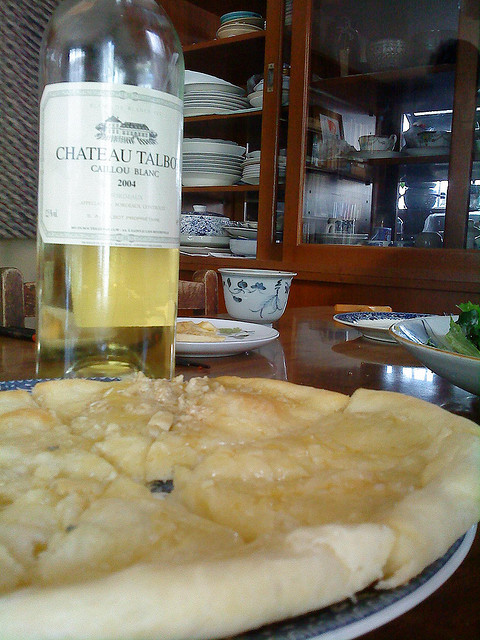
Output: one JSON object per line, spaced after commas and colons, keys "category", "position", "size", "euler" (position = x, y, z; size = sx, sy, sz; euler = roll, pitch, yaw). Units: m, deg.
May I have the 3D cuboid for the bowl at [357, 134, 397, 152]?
{"category": "bowl", "position": [0.441, -0.550, 1.666], "size": [0.084, 0.050, 0.074], "euler": [5, 8, 35]}

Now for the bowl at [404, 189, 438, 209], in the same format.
{"category": "bowl", "position": [0.543, -0.368, 1.574], "size": [0.098, 0.062, 0.024], "euler": [8, 10, 44]}

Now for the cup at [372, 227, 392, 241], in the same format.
{"category": "cup", "position": [0.449, -0.274, 1.648], "size": [0.053, 0.034, 0.041], "euler": [8, 16, 31]}

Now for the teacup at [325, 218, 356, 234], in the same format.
{"category": "teacup", "position": [0.340, -0.321, 1.755], "size": [0.056, 0.034, 0.077], "euler": [-8, 14, -40]}

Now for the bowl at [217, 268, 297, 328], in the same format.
{"category": "bowl", "position": [0.027, -0.045, 0.866], "size": [0.109, 0.071, 0.103], "euler": [5, 9, -1]}

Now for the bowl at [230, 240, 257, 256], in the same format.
{"category": "bowl", "position": [0.011, -0.280, 1.982], "size": [0.107, 0.054, 0.047], "euler": [2, 7, 12]}

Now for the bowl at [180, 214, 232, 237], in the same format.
{"category": "bowl", "position": [-0.141, -0.377, 2.079], "size": [0.209, 0.078, 0.174], "euler": [3, 10, 12]}

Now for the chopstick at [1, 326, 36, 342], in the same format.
{"category": "chopstick", "position": [-0.254, 0.016, 0.592], "size": [0.065, 0.009, 0.010], "euler": [7, -21, 37]}
